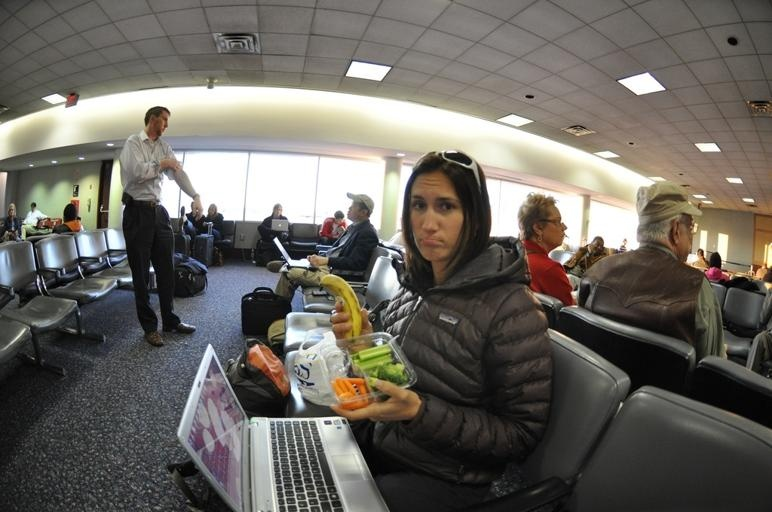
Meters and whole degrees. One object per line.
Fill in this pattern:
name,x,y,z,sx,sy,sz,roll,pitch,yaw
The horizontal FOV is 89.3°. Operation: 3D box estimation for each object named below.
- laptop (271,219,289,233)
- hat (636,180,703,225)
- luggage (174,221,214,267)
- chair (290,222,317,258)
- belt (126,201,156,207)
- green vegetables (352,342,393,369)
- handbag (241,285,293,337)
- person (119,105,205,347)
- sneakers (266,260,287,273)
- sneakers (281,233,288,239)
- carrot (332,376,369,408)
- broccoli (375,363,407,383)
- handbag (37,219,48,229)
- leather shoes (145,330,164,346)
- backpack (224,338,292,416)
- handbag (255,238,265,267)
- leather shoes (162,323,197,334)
laptop,-2.261,-0.658,8.398,0.349,0.230,0.247,2,10,-10
hat,1.713,-0.327,2.424,0.359,0.210,0.272,-19,18,-8
luggage,-3.381,-0.206,6.922,0.878,0.814,0.639,9,8,42
chair,-1.750,-0.370,8.850,0.737,0.722,0.764,1,1,-8
belt,-2.189,-0.472,3.499,0.250,0.071,0.061,3,7,-14
green vegetables,-0.052,0.414,1.613,0.145,0.045,0.080,-5,49,-20
handbag,-1.252,0.576,4.029,0.498,0.467,0.255,6,6,9
person,-2.108,-0.301,3.648,0.603,2.201,0.482,1,7,-34
sneakers,-1.264,0.119,4.586,0.241,0.101,0.316,2,-1,3
sneakers,-2.196,-0.441,8.556,0.154,0.123,0.120,-5,7,-27
carrot,-0.135,0.507,1.497,0.117,0.036,0.102,2,43,-18
broccoli,0.030,0.477,1.586,0.088,0.042,0.077,-5,5,-35
handbag,-8.820,-0.824,10.066,0.174,0.192,0.219,16,24,-25
leather shoes,-2.162,0.746,3.664,0.258,0.101,0.088,15,11,43
backpack,-0.813,0.778,2.475,0.358,0.159,0.453,38,14,-47
handbag,-2.725,-0.094,8.564,0.174,0.564,0.577,2,7,-25
leather shoes,-2.031,0.687,3.911,0.354,0.138,0.128,0,4,-14
